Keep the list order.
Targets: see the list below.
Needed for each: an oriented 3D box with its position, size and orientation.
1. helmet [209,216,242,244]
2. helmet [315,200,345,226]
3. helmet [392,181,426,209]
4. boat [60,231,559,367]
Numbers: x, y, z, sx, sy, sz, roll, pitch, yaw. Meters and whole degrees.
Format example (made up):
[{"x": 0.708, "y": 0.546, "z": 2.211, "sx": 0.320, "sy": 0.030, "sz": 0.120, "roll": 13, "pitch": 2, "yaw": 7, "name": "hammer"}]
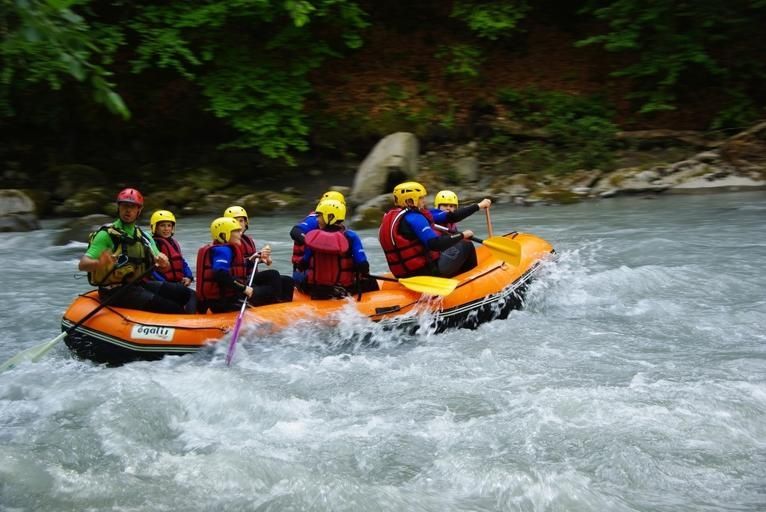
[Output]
[{"x": -2.006, "y": -0.324, "z": 9.080, "sx": 0.370, "sy": 0.314, "sz": 0.231, "roll": -8, "pitch": 19, "yaw": -5, "name": "helmet"}, {"x": -0.673, "y": -0.569, "z": 9.234, "sx": 0.369, "sy": 0.328, "sz": 0.251, "roll": -9, "pitch": 18, "yaw": -9, "name": "helmet"}, {"x": 0.358, "y": -0.822, "z": 9.826, "sx": 0.389, "sy": 0.342, "sz": 0.420, "roll": -9, "pitch": 16, "yaw": -7, "name": "helmet"}, {"x": -0.922, "y": 0.620, "z": 9.201, "sx": 5.730, "sy": 0.464, "sz": 2.220, "roll": -4, "pitch": 8, "yaw": -7, "name": "boat"}]
